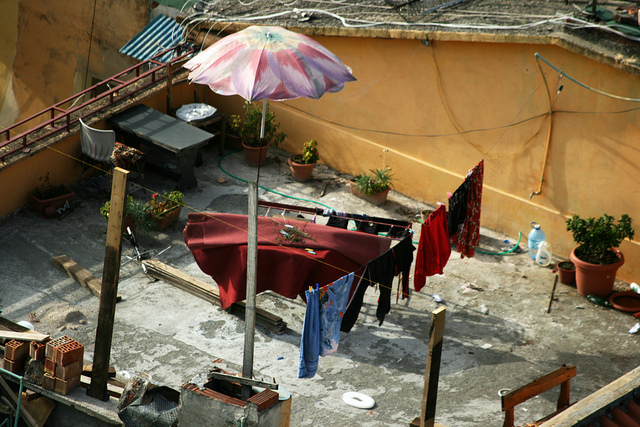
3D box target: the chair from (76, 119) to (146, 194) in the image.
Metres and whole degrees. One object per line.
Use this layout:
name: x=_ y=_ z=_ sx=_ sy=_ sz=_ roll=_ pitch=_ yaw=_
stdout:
chair: x=-4.962 y=-1.590 z=19.211 sx=1.390 sy=2.167 sz=1.387 roll=15 pitch=20 yaw=25

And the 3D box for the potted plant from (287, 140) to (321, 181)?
potted plant: x=-0.434 y=-1.223 z=20.030 sx=0.875 sy=1.130 sz=0.577 roll=-5 pitch=-16 yaw=40

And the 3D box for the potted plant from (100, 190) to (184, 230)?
potted plant: x=-3.876 y=-0.037 z=18.101 sx=2.438 sy=1.253 sz=1.035 roll=-1 pitch=-6 yaw=32

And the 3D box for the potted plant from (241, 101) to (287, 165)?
potted plant: x=-1.554 y=-1.985 z=20.537 sx=0.952 sy=1.189 sz=2.139 roll=21 pitch=44 yaw=-13

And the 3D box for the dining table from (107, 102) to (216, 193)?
dining table: x=-3.836 y=-1.533 z=19.292 sx=2.003 sy=0.999 sz=1.041 roll=32 pitch=42 yaw=16

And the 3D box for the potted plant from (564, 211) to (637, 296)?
potted plant: x=5.884 y=0.879 z=16.880 sx=1.261 sy=1.434 sz=0.922 roll=11 pitch=31 yaw=30

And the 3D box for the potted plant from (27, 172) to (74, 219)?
potted plant: x=-6.079 y=-0.399 z=18.573 sx=0.899 sy=0.814 sz=0.848 roll=23 pitch=21 yaw=31

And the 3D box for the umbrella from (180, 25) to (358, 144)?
umbrella: x=-0.922 y=-2.684 z=14.898 sx=2.742 sy=1.232 sz=1.189 roll=8 pitch=18 yaw=-10

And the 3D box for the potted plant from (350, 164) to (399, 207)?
potted plant: x=1.234 y=-0.555 z=19.673 sx=1.056 sy=0.712 sz=0.989 roll=-24 pitch=45 yaw=-37
